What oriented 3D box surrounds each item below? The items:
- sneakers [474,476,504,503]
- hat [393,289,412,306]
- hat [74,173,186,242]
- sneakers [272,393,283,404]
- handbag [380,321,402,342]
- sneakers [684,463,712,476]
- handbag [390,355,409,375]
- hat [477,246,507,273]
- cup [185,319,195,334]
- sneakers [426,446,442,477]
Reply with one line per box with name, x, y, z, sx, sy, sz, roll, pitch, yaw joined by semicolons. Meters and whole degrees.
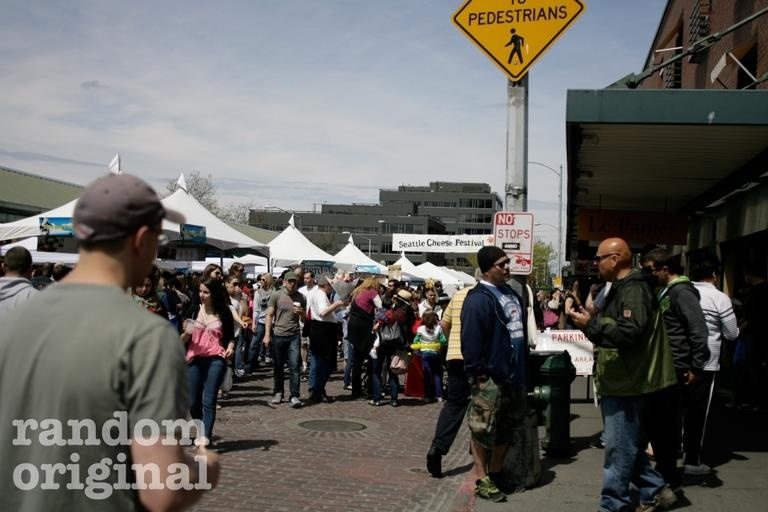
sneakers;1.056;2.293;6.792;0.289;0.217;0.129;1;-6;7
hat;0.363;0.753;12.526;0.267;0.101;0.233;22;-1;-29
hat;-1.162;-0.207;3.145;0.478;0.321;0.165;5;-7;-26
sneakers;-1.785;2.370;11.434;0.099;0.121;0.279;0;-10;12
handbag;0.074;1.307;12.015;0.405;0.491;0.262;1;-22;-9
sneakers;3.430;2.323;7.465;0.278;0.112;0.121;-1;-4;-2
handbag;0.243;1.829;11.632;0.335;0.415;0.213;2;2;8
hat;1.107;-0.006;7.059;0.260;0.227;0.259;-18;6;11
cup;-2.318;0.836;8.174;0.107;0.103;0.193;-6;37;0
sneakers;0.559;2.227;7.429;0.141;0.171;0.392;-4;-47;12
